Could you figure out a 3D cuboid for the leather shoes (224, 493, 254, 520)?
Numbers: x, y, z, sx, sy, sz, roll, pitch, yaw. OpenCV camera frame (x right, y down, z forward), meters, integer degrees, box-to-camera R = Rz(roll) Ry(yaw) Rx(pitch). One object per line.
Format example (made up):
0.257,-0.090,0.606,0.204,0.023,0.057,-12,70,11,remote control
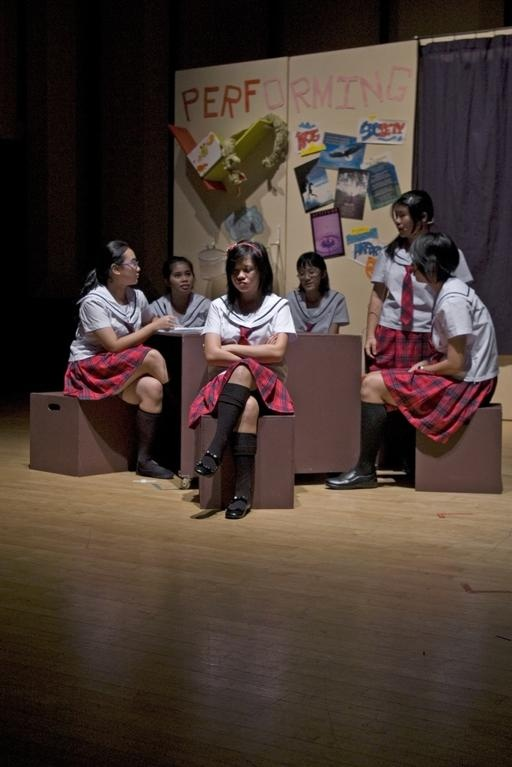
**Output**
-0.056,0.477,2.299,0.067,0.089,0.190,-1,-3,29,leather shoes

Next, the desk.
0.127,0.082,3.052,0.789,0.676,0.774,1,5,2,desk

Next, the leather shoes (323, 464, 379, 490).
0.460,0.451,2.805,0.268,0.109,0.097,1,0,-9,leather shoes

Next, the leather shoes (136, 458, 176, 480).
-0.517,0.439,3.013,0.234,0.098,0.084,5,12,37,leather shoes

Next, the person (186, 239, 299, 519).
-0.060,-0.040,2.440,0.521,1.131,0.401,1,-3,-25,person

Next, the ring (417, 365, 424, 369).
0.761,-0.076,2.707,0.017,0.022,0.005,-8,-31,14,ring

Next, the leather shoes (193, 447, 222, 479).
-0.178,0.301,2.182,0.052,0.145,0.041,17,-7,17,leather shoes

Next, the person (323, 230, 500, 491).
0.865,-0.198,3.415,1.197,1.742,0.802,2,2,13,person
